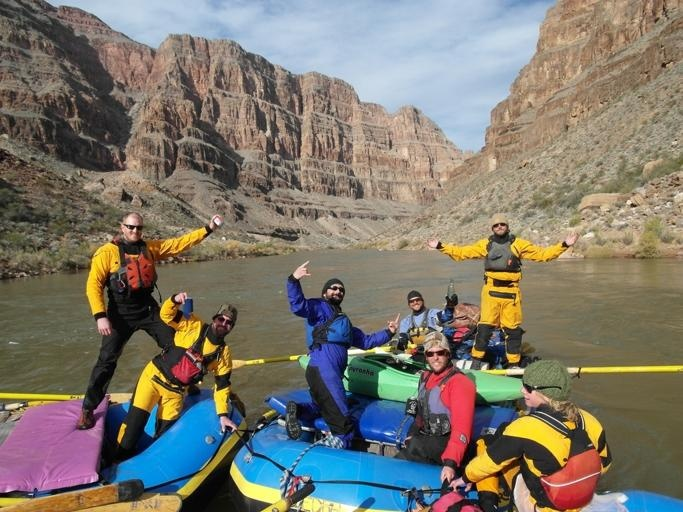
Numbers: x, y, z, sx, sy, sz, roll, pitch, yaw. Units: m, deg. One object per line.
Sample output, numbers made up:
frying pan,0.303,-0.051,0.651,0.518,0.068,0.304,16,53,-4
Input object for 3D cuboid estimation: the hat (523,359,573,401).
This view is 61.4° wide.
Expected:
hat,2.690,1.602,7.546,0.630,0.393,0.520,1,0,41

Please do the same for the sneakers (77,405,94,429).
sneakers,-3.939,2.487,8.857,0.221,0.127,0.297,4,40,-35

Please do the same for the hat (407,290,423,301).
hat,1.528,0.823,12.216,0.334,0.230,0.290,-12,-25,-4

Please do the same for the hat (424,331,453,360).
hat,1.436,1.294,8.486,0.337,0.276,0.401,-7,-24,15

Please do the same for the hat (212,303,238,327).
hat,-1.776,0.882,9.015,0.378,0.290,0.411,26,-25,-4

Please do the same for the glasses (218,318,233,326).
glasses,-1.769,1.015,8.812,0.199,0.122,0.043,-2,3,-13

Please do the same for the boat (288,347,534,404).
boat,0.980,2.136,10.243,4.559,0.710,1.232,1,-5,17

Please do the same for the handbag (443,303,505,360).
handbag,2.742,1.549,11.959,1.380,1.055,0.530,14,0,8

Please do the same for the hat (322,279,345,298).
hat,-0.142,0.534,9.434,0.352,0.212,0.307,4,-10,-10

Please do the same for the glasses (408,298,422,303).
glasses,1.568,0.948,12.110,0.285,0.126,0.190,-2,2,-8

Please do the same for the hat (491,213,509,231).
hat,3.113,-0.685,11.324,0.402,0.355,0.486,-10,-8,15

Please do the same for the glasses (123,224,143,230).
glasses,-3.423,-0.458,9.441,0.138,0.112,0.285,1,3,45
